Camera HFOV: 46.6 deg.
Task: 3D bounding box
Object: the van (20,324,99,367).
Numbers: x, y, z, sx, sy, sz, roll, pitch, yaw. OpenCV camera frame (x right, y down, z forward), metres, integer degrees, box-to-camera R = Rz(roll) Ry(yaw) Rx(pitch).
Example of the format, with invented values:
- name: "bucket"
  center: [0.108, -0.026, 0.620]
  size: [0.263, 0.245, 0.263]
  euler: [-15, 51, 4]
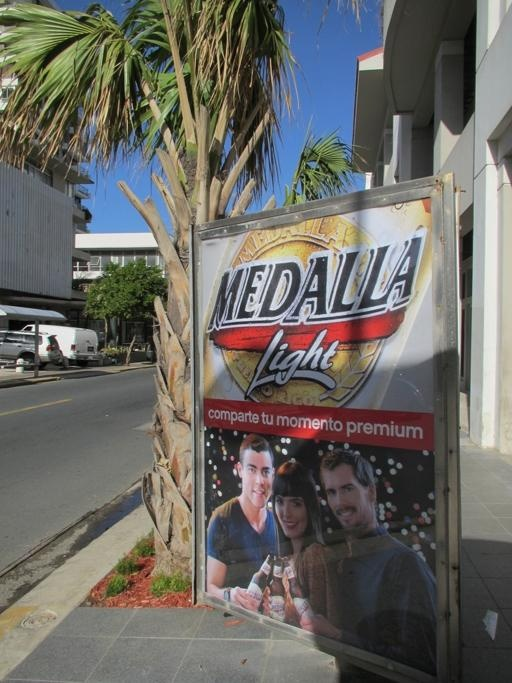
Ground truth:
- name: "van"
  center: [-10.214, 0.065, 30.744]
  size: [3.327, 1.904, 2.002]
  euler: [10, 7, 25]
